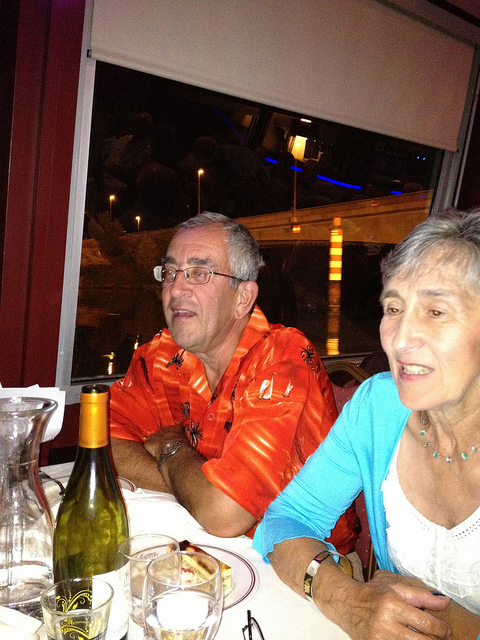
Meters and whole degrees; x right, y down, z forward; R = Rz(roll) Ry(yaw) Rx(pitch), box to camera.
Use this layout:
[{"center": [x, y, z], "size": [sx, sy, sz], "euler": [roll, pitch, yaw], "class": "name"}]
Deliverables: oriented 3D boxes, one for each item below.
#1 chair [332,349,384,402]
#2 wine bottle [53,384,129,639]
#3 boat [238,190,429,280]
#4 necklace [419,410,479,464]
[{"center": [0.388, 0.180, 1.575], "size": [0.141, 0.164, 0.194], "euler": [-8, -20, 42], "class": "chair"}, {"center": [-0.176, 0.212, 0.639], "size": [0.118, 0.357, 0.106], "euler": [2, 4, -33], "class": "wine bottle"}, {"center": [0.484, -0.468, 3.041], "size": [1.738, 0.398, 0.297], "euler": [-11, 6, -33], "class": "boat"}, {"center": [0.404, 0.226, 0.924], "size": [0.109, 0.071, 0.082], "euler": [2, 6, 11], "class": "necklace"}]
